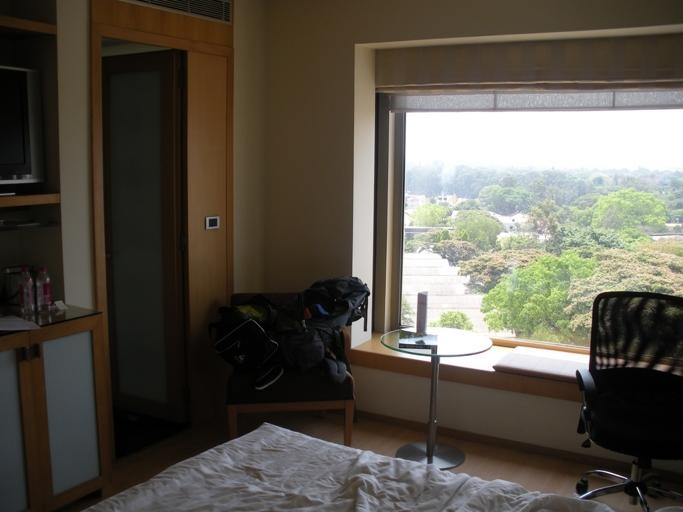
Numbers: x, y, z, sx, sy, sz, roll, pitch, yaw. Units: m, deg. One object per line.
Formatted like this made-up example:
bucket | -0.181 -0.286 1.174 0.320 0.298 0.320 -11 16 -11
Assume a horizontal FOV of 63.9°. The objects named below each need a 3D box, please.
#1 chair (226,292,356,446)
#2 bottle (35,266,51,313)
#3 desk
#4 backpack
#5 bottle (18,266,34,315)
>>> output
chair | -0.262 0.779 4.052 0.889 1.278 1.027 1 -6 -7
bottle | -1.754 0.208 3.231 0.081 0.244 0.101 -5 11 -31
desk | 0.665 0.899 3.928 0.833 0.891 0.796 -10 14 -40
backpack | -0.330 0.447 3.728 0.690 0.411 0.895 -10 -3 14
bottle | -1.811 0.220 3.168 0.073 0.250 0.122 -2 10 -15
